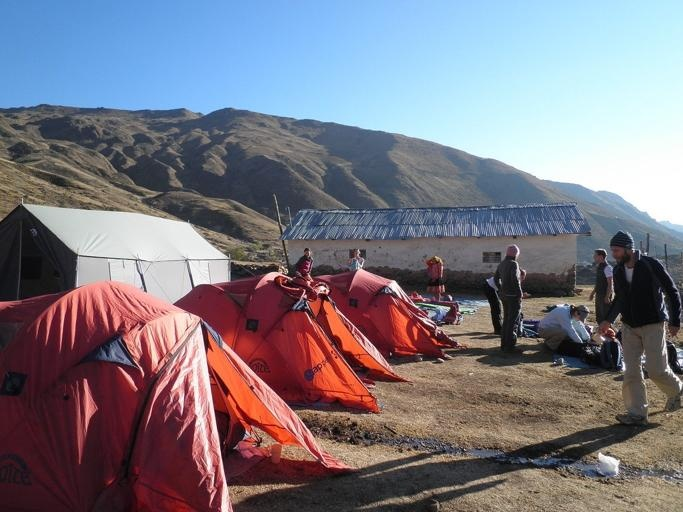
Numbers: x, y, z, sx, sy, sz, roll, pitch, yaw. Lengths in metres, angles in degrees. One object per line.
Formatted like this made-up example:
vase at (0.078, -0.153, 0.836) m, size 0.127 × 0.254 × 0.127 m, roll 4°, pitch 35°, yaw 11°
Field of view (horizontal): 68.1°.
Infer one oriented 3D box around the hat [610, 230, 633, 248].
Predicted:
hat at (3.334, -0.208, 6.116) m, size 0.327 × 0.193 × 0.275 m, roll -5°, pitch 14°, yaw 10°

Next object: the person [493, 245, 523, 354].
person at (3.019, 0.723, 9.162) m, size 0.506 × 1.880 × 0.745 m, roll 3°, pitch 8°, yaw 17°

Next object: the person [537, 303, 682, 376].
person at (4.194, 1.373, 8.405) m, size 1.796 × 0.515 × 1.320 m, roll 2°, pitch 5°, yaw 39°

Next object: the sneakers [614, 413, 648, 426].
sneakers at (3.393, 1.908, 5.920) m, size 0.343 × 0.110 × 0.144 m, roll 3°, pitch 4°, yaw 27°

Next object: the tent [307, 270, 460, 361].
tent at (0.735, 1.023, 9.232) m, size 2.427 × 0.569 × 1.576 m, roll 6°, pitch 4°, yaw 18°
